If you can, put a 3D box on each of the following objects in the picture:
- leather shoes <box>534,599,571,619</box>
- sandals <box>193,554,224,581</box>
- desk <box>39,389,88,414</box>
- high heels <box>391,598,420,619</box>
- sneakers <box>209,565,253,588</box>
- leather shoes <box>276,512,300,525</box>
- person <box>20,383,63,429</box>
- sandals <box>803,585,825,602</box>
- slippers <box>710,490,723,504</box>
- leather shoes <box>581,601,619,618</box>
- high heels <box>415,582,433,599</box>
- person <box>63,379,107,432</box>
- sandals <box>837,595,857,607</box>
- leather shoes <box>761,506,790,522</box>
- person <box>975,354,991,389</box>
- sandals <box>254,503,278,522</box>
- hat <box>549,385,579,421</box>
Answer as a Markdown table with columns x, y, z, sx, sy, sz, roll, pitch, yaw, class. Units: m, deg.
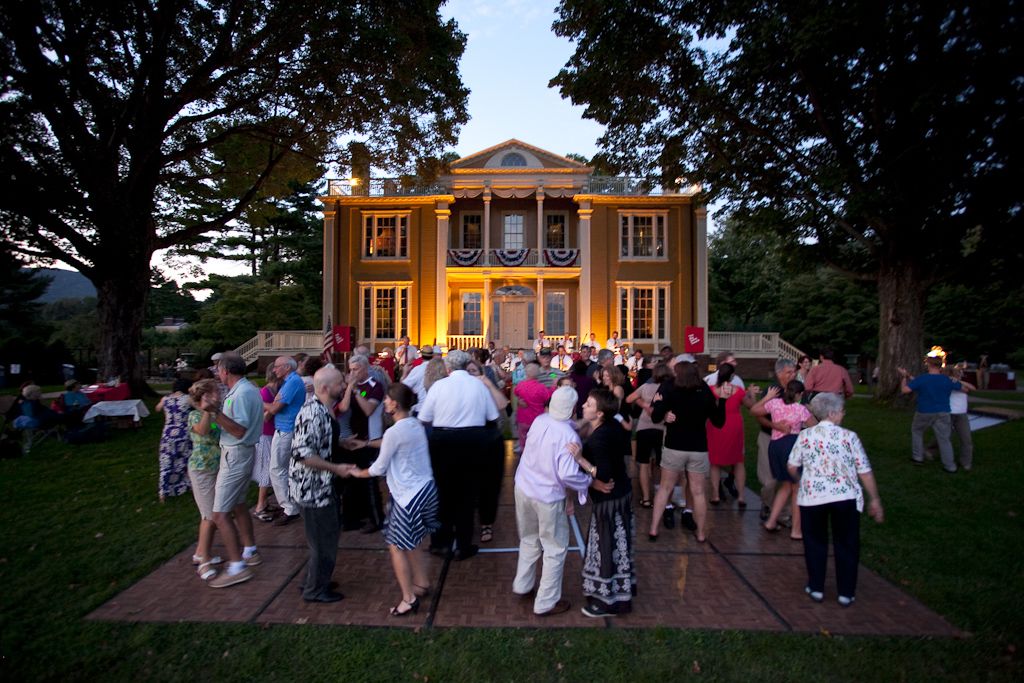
| x | y | z | sx | sy | sz | roll | pitch | yaw | class |
| --- | --- | --- | --- | --- | --- | --- | --- | --- | --- |
| 0.566 | 3.809 | 9.348 | 0.510 | 0.229 | 0.182 | -6 | 7 | -18 | leather shoes |
| -4.651 | 3.506 | 10.068 | 0.235 | 0.270 | 0.641 | 7 | -14 | -40 | sandals |
| -11.380 | 1.558 | 16.717 | 0.650 | 0.639 | 0.352 | 2 | 21 | 0 | desk |
| -1.494 | 3.790 | 9.213 | 0.368 | 0.177 | 0.207 | 1 | -3 | -4 | high heels |
| -4.151 | 3.573 | 9.851 | 0.646 | 0.263 | 0.243 | 4 | -6 | -14 | sneakers |
| -3.937 | 3.151 | 11.559 | 0.501 | 0.242 | 0.184 | 6 | -8 | -10 | leather shoes |
| -11.248 | 1.570 | 15.519 | 0.920 | 1.179 | 0.816 | -2 | 1 | -40 | person |
| 4.385 | 3.705 | 9.578 | 0.277 | 0.201 | 0.202 | -1 | 1 | 40 | sandals |
| 3.871 | 2.983 | 12.380 | 0.169 | 0.226 | 0.315 | 0 | -12 | -3 | slippers |
| 1.234 | 3.820 | 9.180 | 0.505 | 0.247 | 0.209 | -1 | 3 | 3 | leather shoes |
| -1.265 | 3.645 | 9.512 | 0.257 | 0.223 | 0.166 | -2 | 1 | -18 | high heels |
| -10.686 | 1.591 | 16.079 | 0.597 | 1.280 | 0.553 | -2 | 1 | -36 | person |
| 4.838 | 3.760 | 9.428 | 0.294 | 0.174 | 0.128 | -2 | 1 | -14 | sandals |
| 4.692 | 3.070 | 11.622 | 0.553 | 0.232 | 0.173 | -11 | 2 | -6 | leather shoes |
| 21.112 | 1.360 | 29.421 | 0.522 | 1.549 | 1.923 | -1 | 1 | 36 | person |
| -4.353 | 3.083 | 11.688 | 0.203 | 0.241 | 0.547 | 2 | -5 | -43 | sandals |
| 0.697 | 0.870 | 9.152 | 0.382 | 0.479 | 0.176 | -1 | 1 | 1 | hat |
